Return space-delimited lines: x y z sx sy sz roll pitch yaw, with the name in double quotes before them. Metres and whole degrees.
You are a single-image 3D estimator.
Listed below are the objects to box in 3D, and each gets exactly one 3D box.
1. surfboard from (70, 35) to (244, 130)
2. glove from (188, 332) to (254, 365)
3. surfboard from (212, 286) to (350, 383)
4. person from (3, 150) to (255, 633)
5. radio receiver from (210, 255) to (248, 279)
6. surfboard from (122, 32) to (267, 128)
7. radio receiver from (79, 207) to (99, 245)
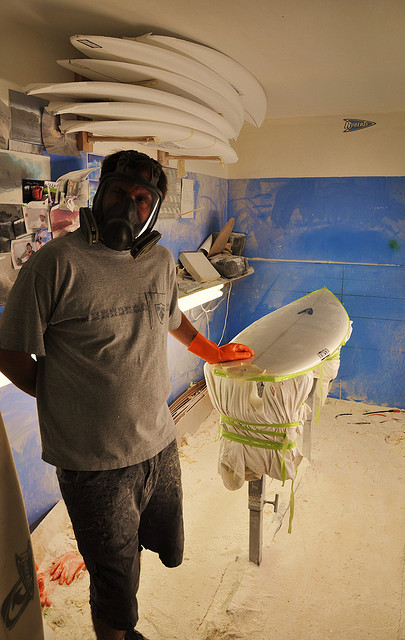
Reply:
"surfboard" -0.104 -1.076 2.199 0.224 0.109 1.116 2 1 29
"glove" 0.103 0.109 2.157 0.107 0.149 0.393 9 14 35
"surfboard" 0.515 0.053 2.809 0.539 0.083 1.664 13 20 23
"person" -0.264 0.221 1.567 0.339 1.445 0.672 10 15 37
"radio receiver" 0.231 -0.445 4.164 0.257 0.093 0.249 2 13 2
"surfboard" 0.077 -1.249 2.640 0.195 0.264 1.347 37 22 21
"radio receiver" -0.322 -0.266 1.410 0.041 0.102 0.082 -6 13 -26
